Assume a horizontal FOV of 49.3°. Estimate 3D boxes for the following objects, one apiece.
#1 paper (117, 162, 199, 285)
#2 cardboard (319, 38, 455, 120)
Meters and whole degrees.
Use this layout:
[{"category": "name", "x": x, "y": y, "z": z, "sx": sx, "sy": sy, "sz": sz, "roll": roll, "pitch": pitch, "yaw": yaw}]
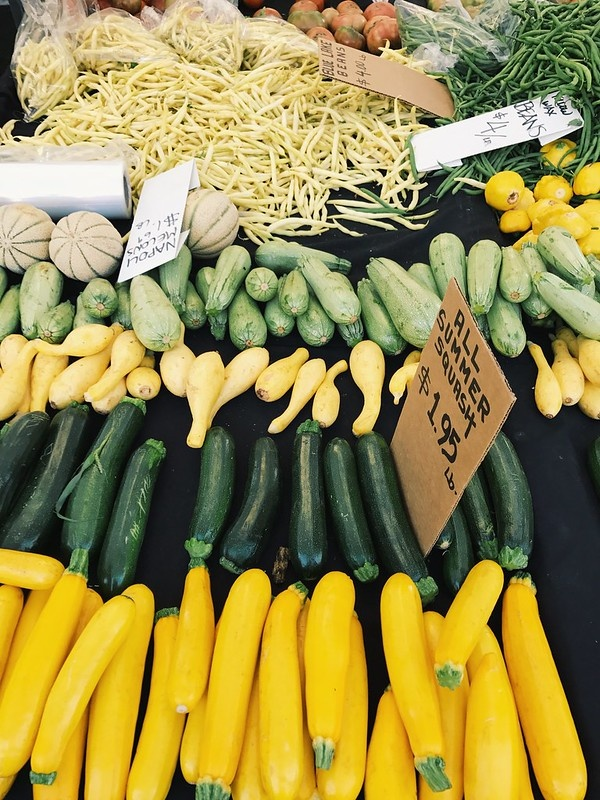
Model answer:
[{"category": "paper", "x": -0.603, "y": -0.737, "z": 2.780, "sx": 0.388, "sy": 0.105, "sz": 0.798, "roll": -28, "pitch": 38, "yaw": 18}, {"category": "cardboard", "x": 0.443, "y": -1.715, "z": 3.442, "sx": 0.049, "sy": 0.280, "sz": 1.069, "roll": -42, "pitch": 55, "yaw": -20}]
